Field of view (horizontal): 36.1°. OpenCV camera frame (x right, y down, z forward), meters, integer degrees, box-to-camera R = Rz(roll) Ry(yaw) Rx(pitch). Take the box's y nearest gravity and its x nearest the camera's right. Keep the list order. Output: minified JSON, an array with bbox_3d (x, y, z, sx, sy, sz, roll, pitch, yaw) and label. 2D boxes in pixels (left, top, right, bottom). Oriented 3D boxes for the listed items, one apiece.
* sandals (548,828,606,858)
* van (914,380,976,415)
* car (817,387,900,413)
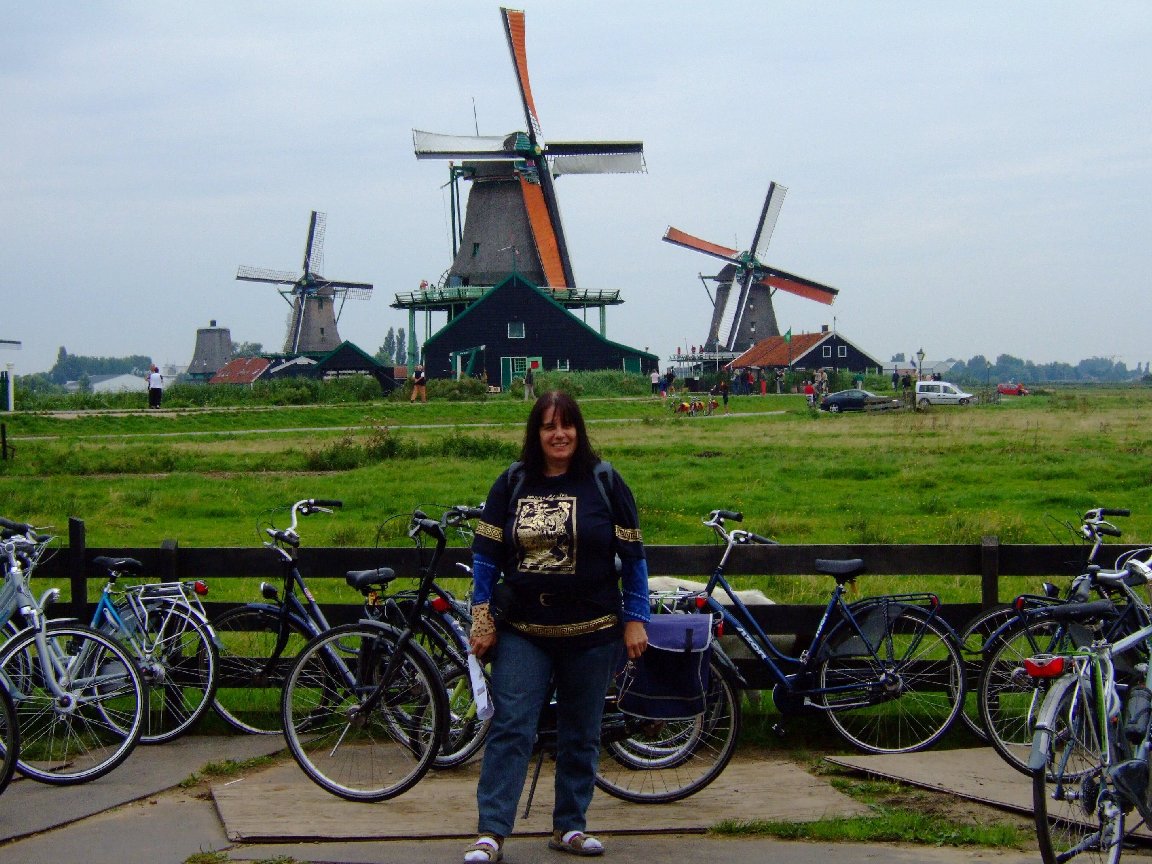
[{"bbox_3d":[0.038,2.779,11.896,0.353,0.120,0.141,-7,-7,44],"label":"sandals"},{"bbox_3d":[13.630,-1.277,64.786,2.299,1.214,1.638,-2,2,10],"label":"van"},{"bbox_3d":[9.422,-0.995,58.919,2.374,0.790,1.075,-2,3,10],"label":"car"}]
